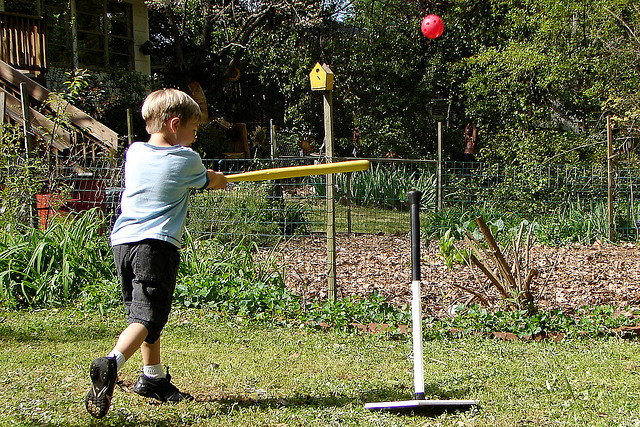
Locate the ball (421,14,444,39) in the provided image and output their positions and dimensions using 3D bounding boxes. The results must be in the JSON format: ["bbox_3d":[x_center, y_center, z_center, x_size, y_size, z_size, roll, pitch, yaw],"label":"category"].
[{"bbox_3d":[2.262,-3.822,16.921,0.455,0.541,0.474,-5,5,1],"label":"ball"}]

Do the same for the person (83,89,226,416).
[{"bbox_3d":[-1.891,0.404,9.484,1.323,3.625,0.343,0,0,-17],"label":"person"}]

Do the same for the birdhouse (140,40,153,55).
[{"bbox_3d":[-4.350,-4.237,21.425,0.295,0.379,0.301,20,12,3],"label":"birdhouse"}]

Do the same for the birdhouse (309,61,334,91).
[{"bbox_3d":[0.032,-1.824,11.268,0.294,0.364,0.220,0,-4,29],"label":"birdhouse"}]
